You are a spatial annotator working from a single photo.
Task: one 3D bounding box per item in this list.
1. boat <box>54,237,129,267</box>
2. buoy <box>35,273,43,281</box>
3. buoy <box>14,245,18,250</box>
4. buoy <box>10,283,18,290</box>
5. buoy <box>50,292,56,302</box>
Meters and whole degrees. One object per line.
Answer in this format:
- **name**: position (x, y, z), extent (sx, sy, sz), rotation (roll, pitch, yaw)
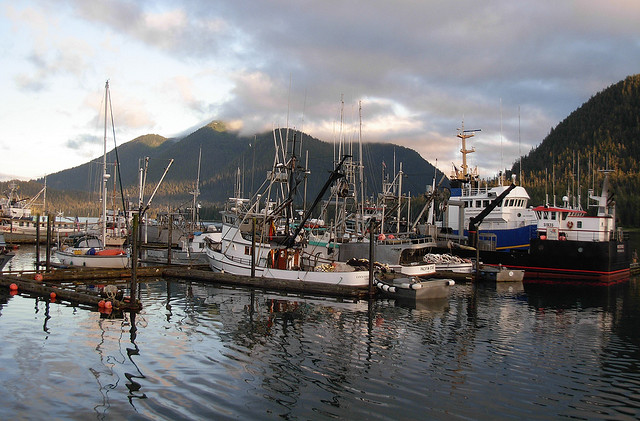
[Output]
- **boat**: position (-23.206, 4.423, 70.328), extent (8.167, 3.203, 2.971), rotation (1, -7, 37)
- **buoy**: position (-25.469, 6.155, 62.817), extent (0.519, 0.612, 0.520), rotation (-12, -27, 20)
- **buoy**: position (-40.988, 5.066, 93.127), extent (0.630, 0.610, 0.630), rotation (0, -2, -18)
- **buoy**: position (-26.766, 6.703, 60.486), extent (0.584, 0.485, 0.311), rotation (7, -6, -22)
- **buoy**: position (-22.235, 7.211, 57.645), extent (0.410, 0.689, 1.083), rotation (7, -6, -23)
